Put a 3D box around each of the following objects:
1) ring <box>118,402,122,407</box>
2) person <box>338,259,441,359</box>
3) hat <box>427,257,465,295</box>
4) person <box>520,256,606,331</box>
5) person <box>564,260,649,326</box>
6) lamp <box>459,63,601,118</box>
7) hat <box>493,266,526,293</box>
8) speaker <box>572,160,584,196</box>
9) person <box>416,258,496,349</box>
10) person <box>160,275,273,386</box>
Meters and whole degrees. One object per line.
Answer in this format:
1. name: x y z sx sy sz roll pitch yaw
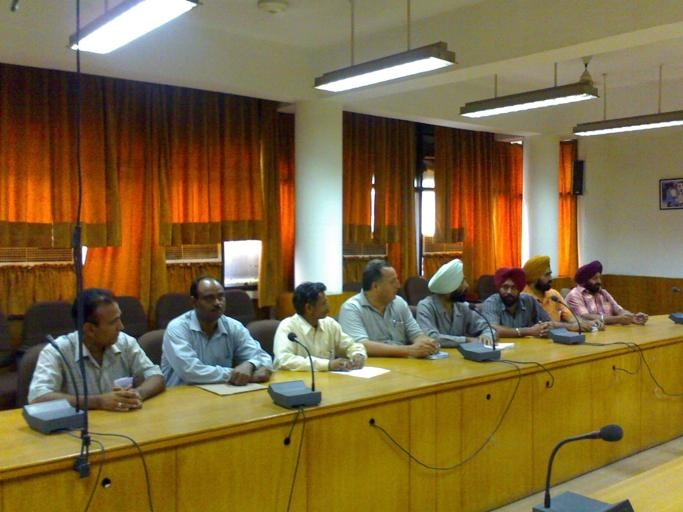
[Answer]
1. ring: -1.147 0.770 3.273 0.015 0.023 0.009 -6 -17 -22
2. person: 0.366 0.383 4.715 0.715 0.629 0.569 2 3 41
3. hat: 0.825 0.185 4.984 0.274 0.191 0.224 -24 20 4
4. person: 1.889 0.347 5.780 0.782 0.858 0.514 -7 -2 36
5. person: 2.553 0.423 6.166 0.618 0.733 0.813 -1 -1 -23
6. lamp: 1.909 -1.586 6.514 1.400 0.178 0.347 -4 -2 40
7. hat: 1.450 0.198 5.412 0.206 0.222 0.206 0 -8 2
8. speaker: 3.666 -1.229 9.800 0.217 0.572 0.112 -2 0 10
9. person: 0.877 0.368 5.020 0.650 0.759 0.550 -1 2 41
10. person: -0.835 0.497 4.076 0.559 0.816 0.758 5 -11 -40
